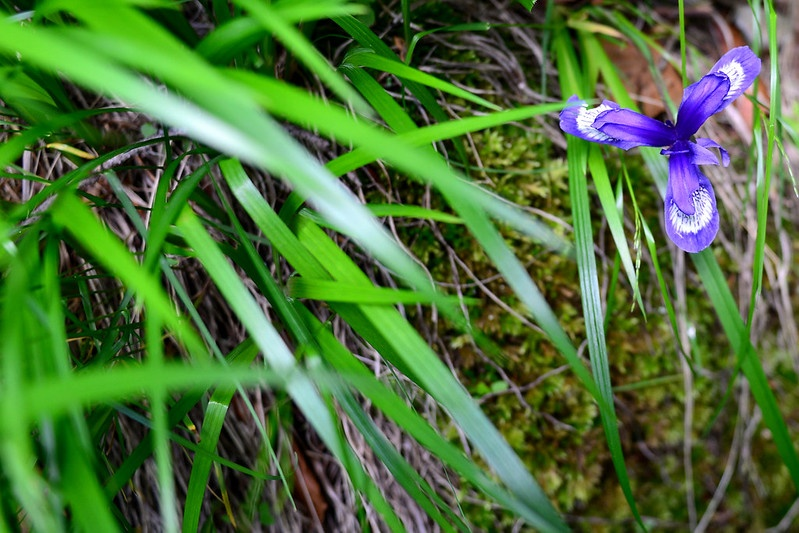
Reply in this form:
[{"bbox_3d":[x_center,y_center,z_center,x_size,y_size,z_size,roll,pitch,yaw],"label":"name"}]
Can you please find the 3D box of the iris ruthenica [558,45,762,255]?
[{"bbox_3d":[0.597,-0.235,1.405,0.409,0.344,0.136,-25,6,19],"label":"iris ruthenica"}]
